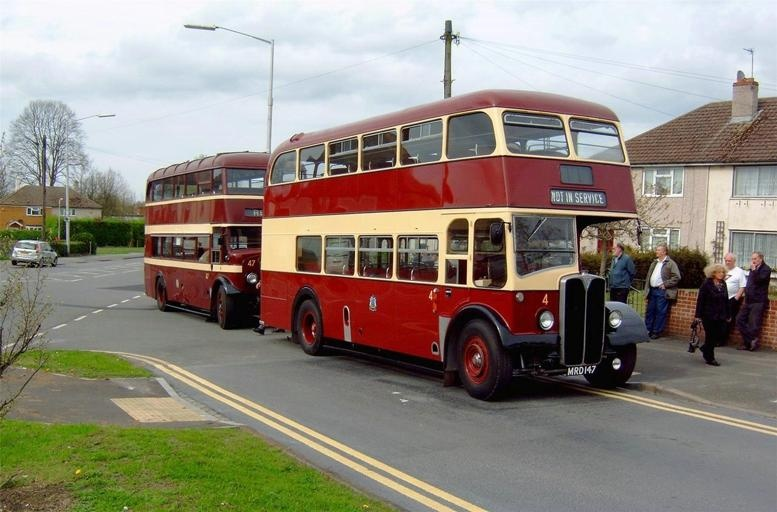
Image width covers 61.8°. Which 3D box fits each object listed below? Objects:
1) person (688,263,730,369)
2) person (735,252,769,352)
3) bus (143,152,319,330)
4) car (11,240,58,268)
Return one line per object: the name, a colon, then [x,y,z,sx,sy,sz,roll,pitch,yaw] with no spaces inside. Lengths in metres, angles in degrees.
person: [7.087,1.270,14.249,0.668,2.256,0.701,2,9,29]
person: [8.900,1.059,15.862,0.771,2.368,0.565,-9,10,-38]
bus: [-4.594,-0.392,19.645,2.221,4.051,5.727,-2,4,-36]
car: [-23.581,-0.129,43.124,1.703,1.298,2.932,1,6,-5]
